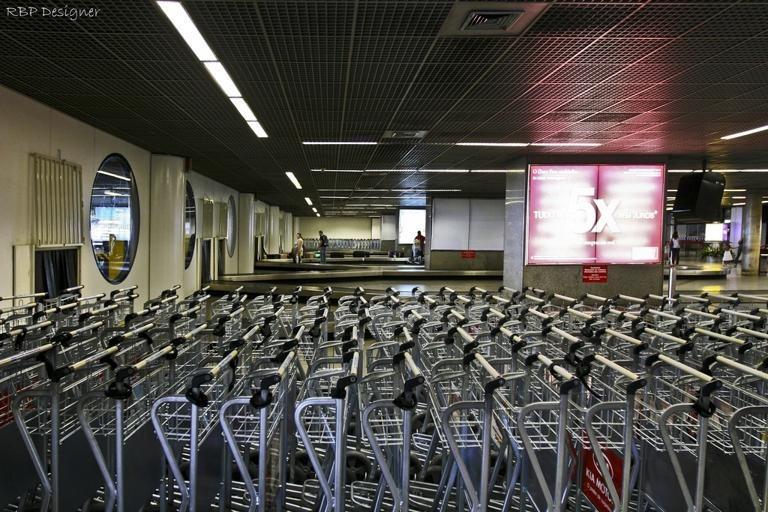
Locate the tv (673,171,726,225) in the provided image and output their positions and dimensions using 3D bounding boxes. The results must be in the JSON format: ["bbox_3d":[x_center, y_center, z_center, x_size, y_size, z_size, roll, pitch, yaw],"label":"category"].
[{"bbox_3d":[5.946,-1.123,8.426,0.763,0.931,0.583,3,4,31],"label":"tv"}]

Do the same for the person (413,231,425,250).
[{"bbox_3d":[1.936,-0.789,23.703,0.366,0.982,1.526,2,4,11],"label":"person"}]
